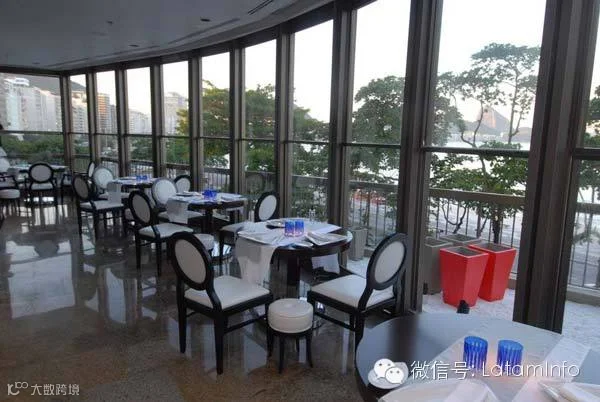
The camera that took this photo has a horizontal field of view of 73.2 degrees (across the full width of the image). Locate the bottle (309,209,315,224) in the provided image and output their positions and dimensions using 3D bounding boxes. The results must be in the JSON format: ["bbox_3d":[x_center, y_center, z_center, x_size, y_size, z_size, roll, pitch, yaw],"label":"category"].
[{"bbox_3d":[0.136,0.164,4.862,0.071,0.149,0.184,1,8,-2],"label":"bottle"}]

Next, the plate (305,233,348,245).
[{"bbox_3d":[0.293,0.386,4.316,0.469,0.084,0.321,0,7,-7],"label":"plate"}]

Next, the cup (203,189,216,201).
[{"bbox_3d":[-1.432,-0.107,6.309,0.172,0.167,0.171,1,10,0],"label":"cup"}]

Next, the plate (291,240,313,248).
[{"bbox_3d":[0.025,0.434,4.180,0.207,0.043,0.120,2,7,8],"label":"plate"}]
